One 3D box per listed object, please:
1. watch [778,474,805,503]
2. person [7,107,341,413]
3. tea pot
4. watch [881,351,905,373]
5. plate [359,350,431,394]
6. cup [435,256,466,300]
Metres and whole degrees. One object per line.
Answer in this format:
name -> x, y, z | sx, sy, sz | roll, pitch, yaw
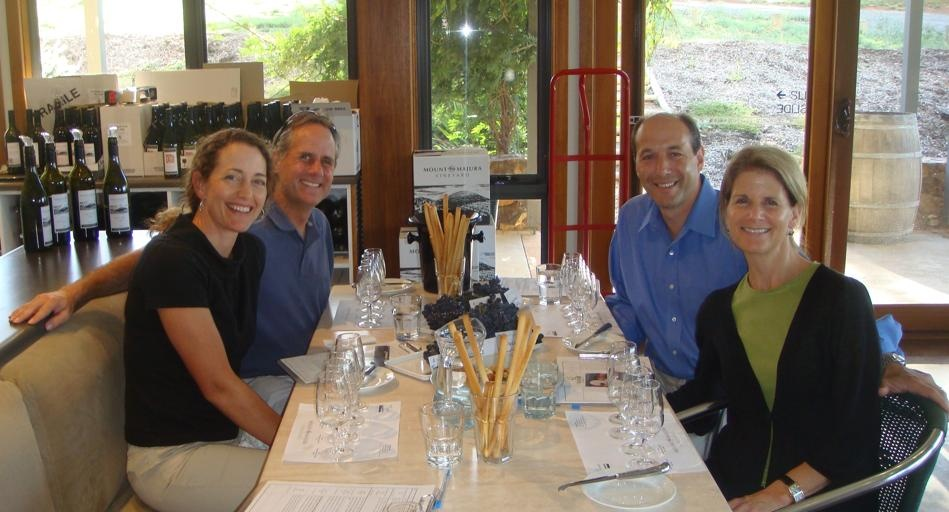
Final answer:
watch -> 1.366, 0.993, 2.860 | 0.078, 0.093, 0.110 | -22, 6, -14
person -> -1.553, 0.035, 3.436 | 1.544, 1.514, 0.621 | 20, 10, -29
tea pot -> -0.091, 0.488, 2.818 | 0.270, 0.400, 0.414 | 2, 16, 13
watch -> 1.856, 0.457, 3.000 | 0.116, 0.099, 0.072 | 1, 10, -30
plate -> -0.309, 0.528, 3.037 | 0.190, 0.020, 0.189 | -24, 29, -37
cup -> -0.124, 0.124, 3.622 | 0.209, 0.210, 0.201 | 1, 4, 0
